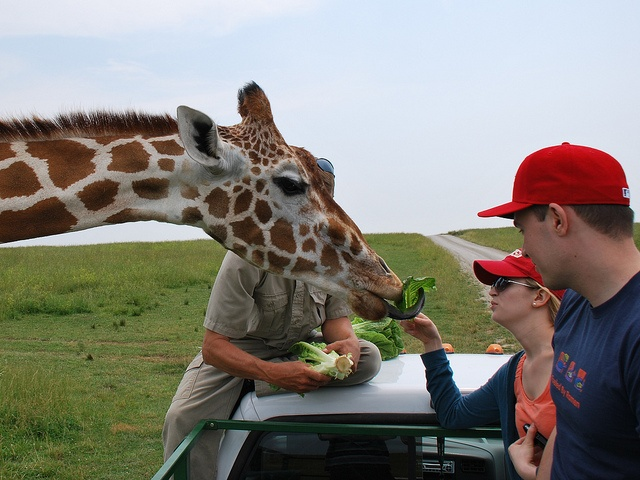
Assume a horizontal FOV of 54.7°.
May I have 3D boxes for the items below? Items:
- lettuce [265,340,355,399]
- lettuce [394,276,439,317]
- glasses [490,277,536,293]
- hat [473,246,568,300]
[{"bbox_3d":[-0.045,0.791,4.154,0.504,0.346,0.509,-1,4,-25],"label":"lettuce"},{"bbox_3d":[0.602,0.351,4.042,0.202,0.244,0.145,1,8,-18],"label":"lettuce"},{"bbox_3d":[1.138,0.266,3.667,0.151,0.042,0.107,9,-17,0],"label":"glasses"},{"bbox_3d":[1.199,0.184,3.737,0.451,0.251,0.286,21,-7,5],"label":"hat"}]
